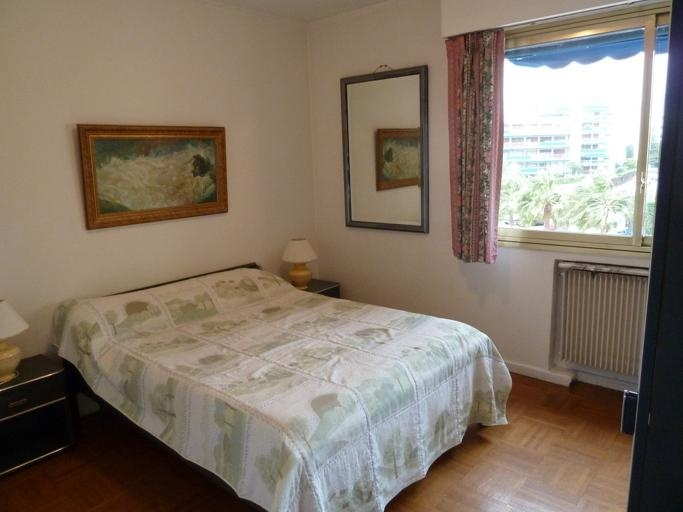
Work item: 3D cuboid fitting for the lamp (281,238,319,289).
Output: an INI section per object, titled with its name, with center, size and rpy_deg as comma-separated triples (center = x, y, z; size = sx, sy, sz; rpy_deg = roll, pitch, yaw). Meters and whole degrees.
[lamp]
center = -0.403, 0.085, 4.784
size = 0.291, 0.501, 0.295
rpy_deg = 4, 11, 40

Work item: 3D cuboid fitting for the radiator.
[radiator]
center = 2.018, 0.517, 3.809
size = 0.748, 0.820, 0.115
rpy_deg = 4, 11, 38
